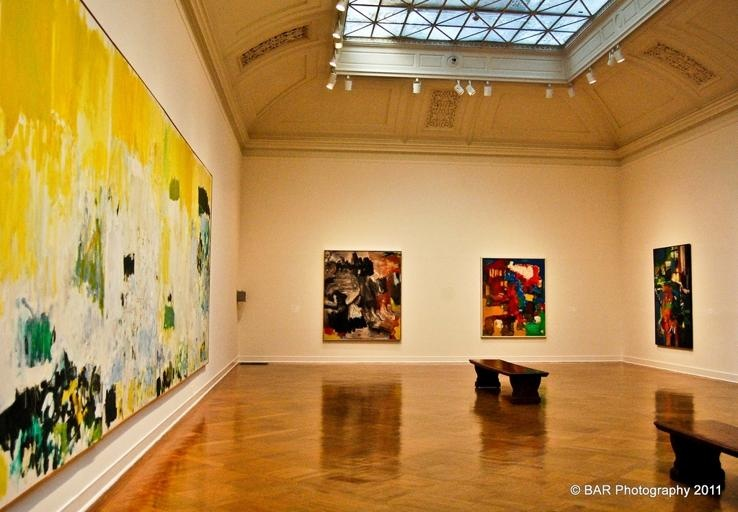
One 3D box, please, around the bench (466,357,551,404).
[{"bbox_3d":[2.423,2.194,9.312,0.755,0.547,1.697,3,-7,-10],"label":"bench"}]
